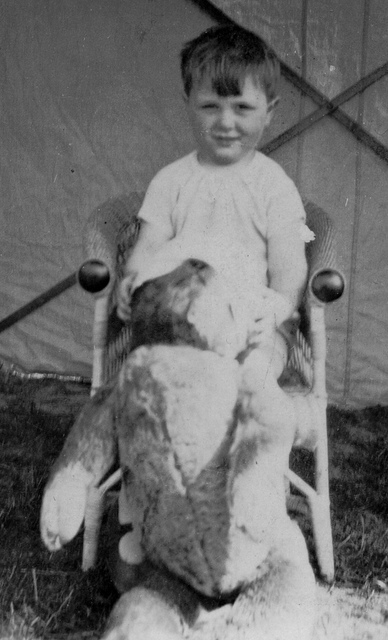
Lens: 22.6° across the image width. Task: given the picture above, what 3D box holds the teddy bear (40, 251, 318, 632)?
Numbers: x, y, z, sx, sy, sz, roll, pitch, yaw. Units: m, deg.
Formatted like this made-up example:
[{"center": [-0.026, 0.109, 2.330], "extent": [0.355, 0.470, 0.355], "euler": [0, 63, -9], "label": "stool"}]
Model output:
[{"center": [0.014, 0.361, 2.612], "extent": [0.683, 1.151, 0.335], "euler": [-1, -7, 5], "label": "teddy bear"}]

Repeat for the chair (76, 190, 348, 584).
[{"center": [0.093, 0.140, 3.079], "extent": [0.781, 1.096, 0.824], "euler": [-2, 11, -6], "label": "chair"}]
